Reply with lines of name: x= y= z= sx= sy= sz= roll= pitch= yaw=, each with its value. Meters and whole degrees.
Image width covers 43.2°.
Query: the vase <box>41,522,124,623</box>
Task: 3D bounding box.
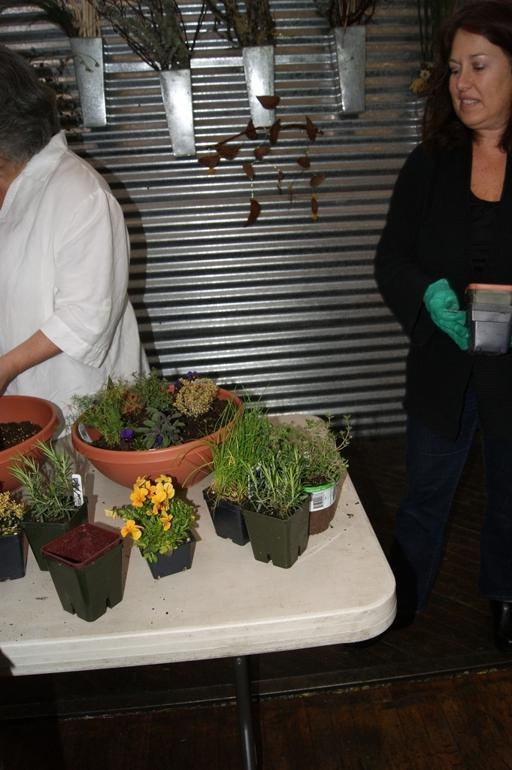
vase: x=-0.301 y=0.345 z=1.150 sx=0.108 sy=0.107 sz=0.129 roll=-1 pitch=9 yaw=38

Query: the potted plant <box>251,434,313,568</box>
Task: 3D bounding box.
potted plant: x=0.050 y=0.242 z=1.283 sx=0.144 sy=0.223 sz=0.148 roll=11 pitch=32 yaw=22

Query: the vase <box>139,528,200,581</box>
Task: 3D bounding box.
vase: x=-0.155 y=0.332 z=1.271 sx=0.074 sy=0.060 sz=0.092 roll=-7 pitch=8 yaw=-8

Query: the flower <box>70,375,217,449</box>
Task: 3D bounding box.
flower: x=-0.268 y=0.068 z=1.570 sx=0.252 sy=0.083 sz=0.224 roll=-4 pitch=18 yaw=1

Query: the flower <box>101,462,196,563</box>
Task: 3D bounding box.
flower: x=-0.189 y=0.276 z=1.269 sx=0.210 sy=0.133 sz=0.206 roll=6 pitch=17 yaw=-10
